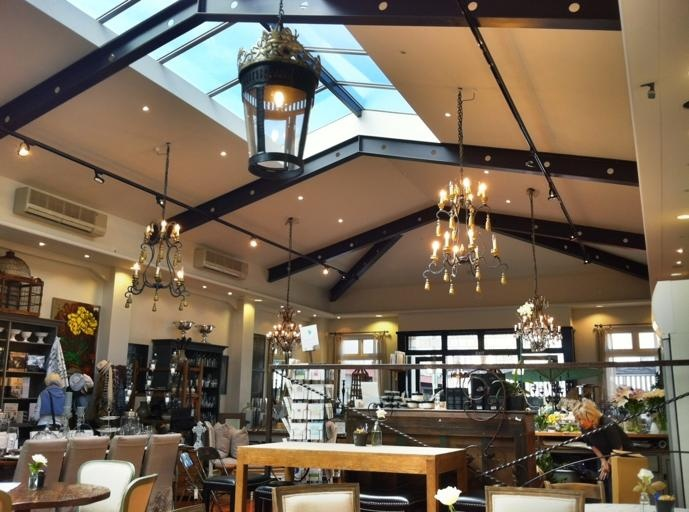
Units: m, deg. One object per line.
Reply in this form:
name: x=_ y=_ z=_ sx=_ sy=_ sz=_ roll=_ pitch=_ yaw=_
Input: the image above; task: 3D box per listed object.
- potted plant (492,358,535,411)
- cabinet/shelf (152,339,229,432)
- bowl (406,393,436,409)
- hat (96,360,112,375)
potted plant: x=1.905 y=1.548 z=5.783 sx=0.393 sy=0.438 sz=0.461 roll=-11 pitch=-4 yaw=-2
cabinet/shelf: x=-3.354 y=2.795 z=10.713 sx=0.518 sy=2.124 sz=1.638 roll=-7 pitch=-17 yaw=18
bowl: x=1.012 y=1.917 z=6.579 sx=0.366 sy=0.167 sz=1.193 roll=-3 pitch=-15 yaw=9
hat: x=-4.470 y=2.104 z=9.313 sx=0.189 sy=0.201 sz=0.359 roll=18 pitch=-8 yaw=0
